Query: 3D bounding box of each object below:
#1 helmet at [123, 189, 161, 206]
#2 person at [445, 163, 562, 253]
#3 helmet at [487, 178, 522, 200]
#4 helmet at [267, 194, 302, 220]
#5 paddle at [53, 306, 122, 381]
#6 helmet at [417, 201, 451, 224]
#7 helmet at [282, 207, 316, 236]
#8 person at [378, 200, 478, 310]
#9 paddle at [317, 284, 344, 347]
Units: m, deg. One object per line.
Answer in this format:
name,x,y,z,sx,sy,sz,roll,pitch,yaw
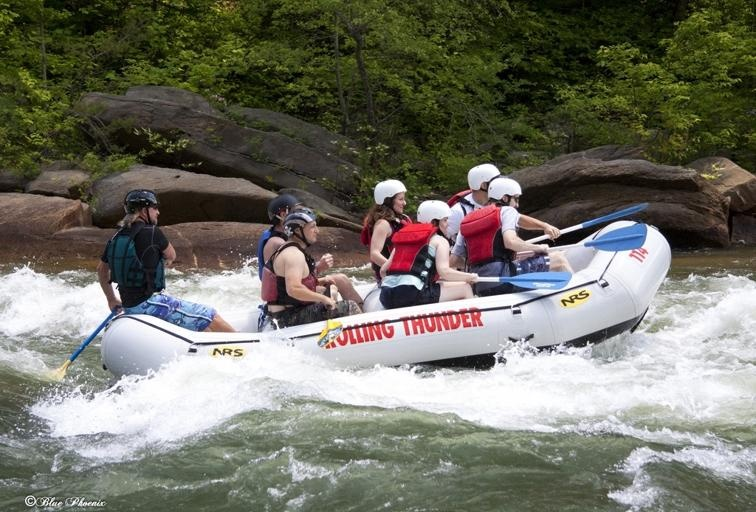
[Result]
helmet,-3.124,-0.768,10.889,0.276,0.301,0.266,6,0,29
person,1.982,-0.699,12.357,1.813,1.163,0.828,5,14,31
helmet,1.814,-0.975,11.873,0.427,0.286,0.304,-11,10,15
helmet,-1.311,-0.692,11.421,0.435,0.326,0.325,-39,4,10
paddle,-4.198,1.305,11.881,1.429,0.142,0.331,-38,59,-17
helmet,0.788,-0.620,11.718,0.438,0.282,0.294,13,5,9
helmet,-1.080,-0.503,11.003,0.454,0.384,0.325,15,4,-20
person,0.684,0.040,11.550,1.282,1.477,0.997,-23,37,-37
paddle,-0.640,0.849,11.176,0.412,0.207,0.744,-28,38,15
